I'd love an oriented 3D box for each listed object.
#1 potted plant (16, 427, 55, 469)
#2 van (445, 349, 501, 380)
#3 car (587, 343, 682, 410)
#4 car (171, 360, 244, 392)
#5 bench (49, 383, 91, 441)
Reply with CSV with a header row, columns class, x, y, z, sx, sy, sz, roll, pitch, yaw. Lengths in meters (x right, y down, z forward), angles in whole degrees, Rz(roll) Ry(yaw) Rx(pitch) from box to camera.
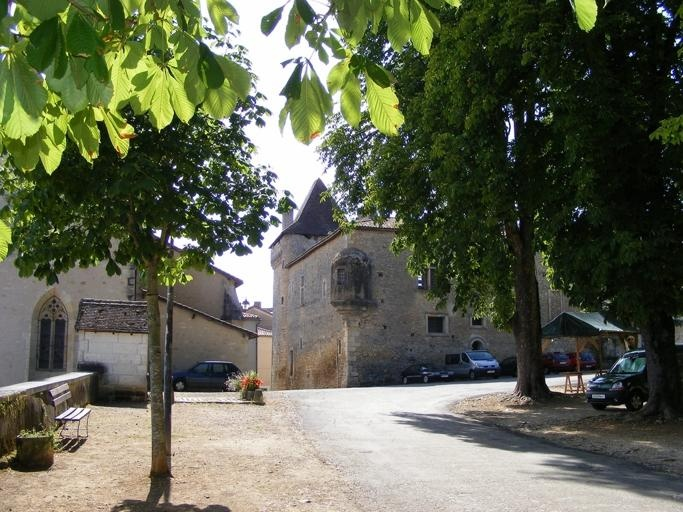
class,x,y,z,sx,sy,sz,roll,pitch,yaw
potted plant,-4.568,2.820,9.503,0.474,0.564,0.490,3,-9,-8
van,7.327,6.217,37.059,1.417,1.439,2.873,5,-16,-29
car,8.270,3.412,18.766,3.132,1.874,1.713,10,-18,-29
car,-6.421,5.465,30.218,2.557,1.306,1.628,4,-12,-8
bench,-5.563,3.151,13.048,0.440,0.845,1.165,1,-4,-7
